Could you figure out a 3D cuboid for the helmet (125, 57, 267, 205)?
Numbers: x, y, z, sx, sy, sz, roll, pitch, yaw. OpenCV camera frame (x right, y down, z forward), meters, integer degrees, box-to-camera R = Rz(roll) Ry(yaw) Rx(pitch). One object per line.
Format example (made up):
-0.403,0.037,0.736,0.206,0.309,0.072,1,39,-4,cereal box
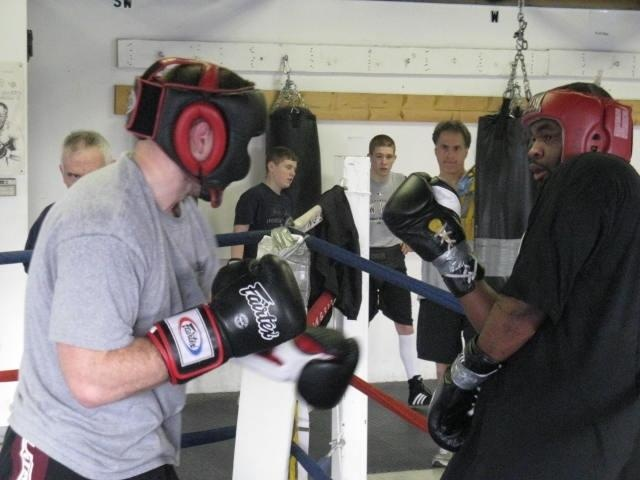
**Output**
-0.307,-0.278,1.579,0.357,0.329,0.331,1,15,-20,helmet

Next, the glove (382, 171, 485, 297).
0.346,-0.008,1.951,0.242,0.392,0.167,-44,2,-13,glove

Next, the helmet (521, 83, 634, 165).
0.717,-0.319,1.731,0.245,0.181,0.186,-6,5,-9,helmet
